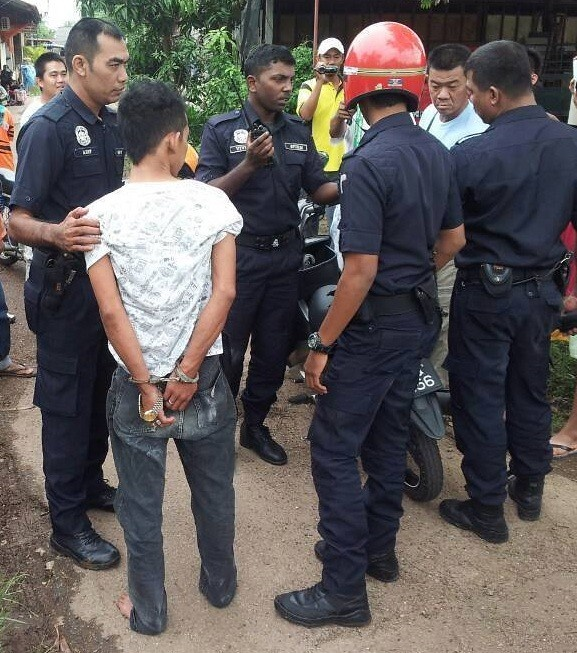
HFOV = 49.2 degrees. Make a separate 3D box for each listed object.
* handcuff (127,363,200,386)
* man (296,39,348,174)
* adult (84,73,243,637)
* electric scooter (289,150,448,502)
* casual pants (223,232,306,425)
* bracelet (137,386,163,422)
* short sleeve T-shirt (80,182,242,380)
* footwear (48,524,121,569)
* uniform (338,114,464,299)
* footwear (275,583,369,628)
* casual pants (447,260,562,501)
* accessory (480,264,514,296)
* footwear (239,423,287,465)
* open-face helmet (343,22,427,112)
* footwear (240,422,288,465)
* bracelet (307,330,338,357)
[{"bbox_3d":[-0.342,0.134,1.729,0.119,0.033,0.065,-1,26,-9],"label":"handcuff"},{"bbox_3d":[0.356,-1.572,5.083,0.489,1.310,0.413,-7,31,-1],"label":"man"},{"bbox_3d":[-0.387,0.130,1.969,0.473,1.651,0.503,18,23,42],"label":"adult"},{"bbox_3d":[0.150,0.115,3.133,0.637,1.009,1.490,1,33,-8],"label":"electric scooter"},{"bbox_3d":[-0.183,0.029,3.104,0.347,1.055,0.257,4,26,-9],"label":"casual pants"},{"bbox_3d":[-0.382,0.221,1.735,0.062,0.077,0.043,0,-5,15],"label":"bracelet"},{"bbox_3d":[-0.339,-0.129,1.735,0.407,0.529,0.171,0,16,-5],"label":"short sleeve T-shirt"},{"bbox_3d":[-0.728,0.815,2.330,0.264,0.104,0.117,19,22,3],"label":"footwear"},{"bbox_3d":[0.323,-0.383,1.975,0.458,0.550,0.209,-12,21,-40],"label":"uniform"},{"bbox_3d":[0.110,0.910,2.125,0.340,0.151,0.123,4,26,-1],"label":"footwear"},{"bbox_3d":[0.881,0.254,2.613,0.491,0.940,0.302,0,-2,-27],"label":"casual pants"},{"bbox_3d":[0.781,-0.169,2.348,0.107,0.115,0.043,3,-6,4],"label":"accessory"},{"bbox_3d":[-0.142,0.565,3.184,0.114,0.141,0.329,-26,32,-35],"label":"footwear"},{"bbox_3d":[0.283,-0.775,1.878,0.225,0.216,0.255,1,32,-3],"label":"open-face helmet"},{"bbox_3d":[-0.142,0.561,3.184,0.115,0.143,0.334,-24,30,-34],"label":"footwear"},{"bbox_3d":[0.125,0.049,2.108,0.098,0.093,0.060,7,-4,-17],"label":"bracelet"}]
